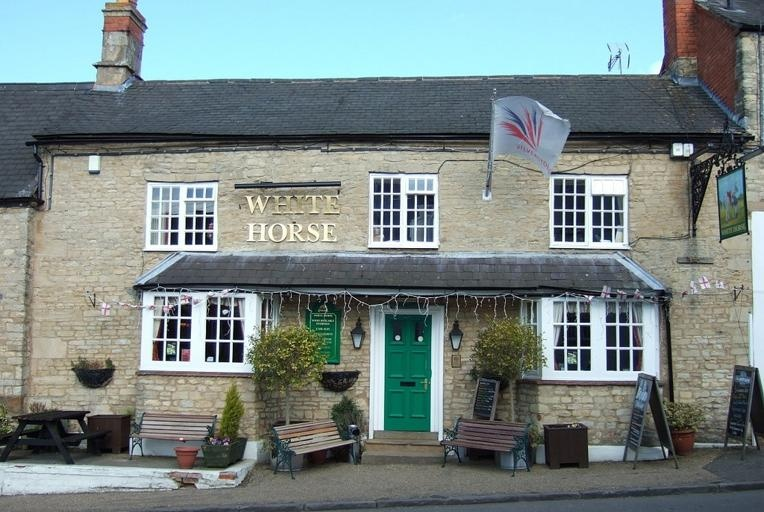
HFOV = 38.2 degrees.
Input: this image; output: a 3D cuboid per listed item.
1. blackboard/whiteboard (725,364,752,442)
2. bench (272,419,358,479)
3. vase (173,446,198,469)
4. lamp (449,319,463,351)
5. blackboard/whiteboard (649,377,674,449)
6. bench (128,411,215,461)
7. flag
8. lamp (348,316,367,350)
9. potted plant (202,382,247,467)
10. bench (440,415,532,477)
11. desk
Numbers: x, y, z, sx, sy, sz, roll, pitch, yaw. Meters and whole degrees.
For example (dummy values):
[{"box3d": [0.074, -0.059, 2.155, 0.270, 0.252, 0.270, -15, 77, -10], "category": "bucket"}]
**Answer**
[{"box3d": [8.651, 3.584, 26.572, 0.362, 1.860, 0.907, 5, -11, -30], "category": "blackboard/whiteboard"}, {"box3d": [-1.625, 4.587, 26.436, 0.896, 0.966, 2.225, 4, 2, 40], "category": "bench"}, {"box3d": [-4.652, 4.814, 26.255, 0.521, 0.506, 0.734, 1, -9, -9], "category": "vase"}, {"box3d": [1.879, 2.021, 27.916, 0.362, 0.770, 0.273, -1, -10, 2], "category": "lamp"}, {"box3d": [6.695, 3.859, 26.463, 0.537, 1.815, 1.058, -3, -10, 13], "category": "blackboard/whiteboard"}, {"box3d": [-5.013, 4.336, 26.583, 2.081, 0.916, 0.665, -2, 4, 19], "category": "bench"}, {"box3d": [3.700, -3.076, 27.547, 2.144, 1.678, 0.292, 22, 29, 36], "category": "flag"}, {"box3d": [-0.606, 1.979, 28.033, 0.381, 0.797, 0.245, 0, -10, -2], "category": "lamp"}, {"box3d": [-3.753, 4.094, 26.305, 1.088, 1.912, 0.521, 3, -11, -22], "category": "potted plant"}, {"box3d": [2.448, 4.535, 26.340, 0.967, 0.924, 2.114, -9, 5, -44], "category": "bench"}, {"box3d": [-8.015, 4.387, 26.715, 2.360, 1.260, 1.795, 7, -12, -40], "category": "desk"}]
